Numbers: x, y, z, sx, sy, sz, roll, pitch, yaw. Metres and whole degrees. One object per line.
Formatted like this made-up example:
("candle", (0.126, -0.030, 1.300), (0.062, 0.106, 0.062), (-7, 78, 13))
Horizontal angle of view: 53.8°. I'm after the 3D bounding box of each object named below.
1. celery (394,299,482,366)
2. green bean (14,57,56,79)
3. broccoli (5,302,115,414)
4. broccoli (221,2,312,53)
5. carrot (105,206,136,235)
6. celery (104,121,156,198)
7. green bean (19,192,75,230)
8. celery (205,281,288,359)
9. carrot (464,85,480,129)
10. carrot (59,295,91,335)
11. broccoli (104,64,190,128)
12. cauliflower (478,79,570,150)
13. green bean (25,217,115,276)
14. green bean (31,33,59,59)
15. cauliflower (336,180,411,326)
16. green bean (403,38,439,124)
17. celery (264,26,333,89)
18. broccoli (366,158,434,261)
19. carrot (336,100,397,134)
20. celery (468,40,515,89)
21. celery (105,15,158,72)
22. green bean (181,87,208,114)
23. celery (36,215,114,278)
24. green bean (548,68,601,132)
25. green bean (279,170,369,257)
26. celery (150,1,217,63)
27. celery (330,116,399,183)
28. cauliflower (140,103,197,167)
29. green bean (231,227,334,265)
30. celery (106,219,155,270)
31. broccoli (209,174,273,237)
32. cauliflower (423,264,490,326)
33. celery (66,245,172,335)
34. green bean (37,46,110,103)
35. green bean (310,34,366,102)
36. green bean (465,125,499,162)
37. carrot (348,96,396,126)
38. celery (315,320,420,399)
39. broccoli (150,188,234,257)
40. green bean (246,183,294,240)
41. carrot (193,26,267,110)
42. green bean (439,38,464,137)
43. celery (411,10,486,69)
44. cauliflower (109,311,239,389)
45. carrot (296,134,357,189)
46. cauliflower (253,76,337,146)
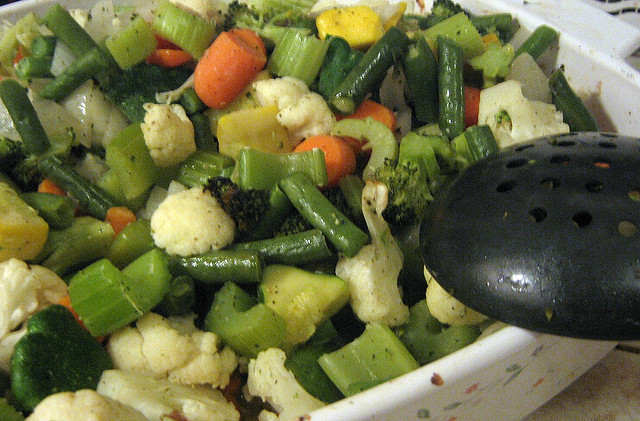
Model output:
("celery", (0.321, 0.318, 1.723), (0.182, 0.063, 0.195), (37, 117, 34))
("green bean", (-0.883, -0.424, 1.960), (0.115, 0.042, 0.062), (-5, 91, -28))
("broccoli", (-0.675, 0.395, 1.625), (0.203, 0.141, 0.248), (27, 78, 16))
("broccoli", (-0.178, -0.589, 2.039), (0.199, 0.070, 0.202), (44, 60, 9))
("carrot", (-0.603, 0.028, 1.892), (0.100, 0.105, 0.066), (-3, 97, -23))
("celery", (-0.557, -0.131, 1.867), (0.109, 0.132, 0.219), (-21, 102, 12))
("green bean", (-0.764, 0.002, 1.802), (0.153, 0.081, 0.064), (15, 24, 8))
("celery", (-0.213, 0.292, 1.706), (0.209, 0.075, 0.171), (1, 29, 5))
("carrot", (0.488, -0.318, 2.068), (0.080, 0.062, 0.117), (8, 84, 19))
("carrot", (-0.671, 0.283, 1.723), (0.021, 0.082, 0.082), (-35, 55, -2))
("broccoli", (-0.549, -0.357, 1.948), (0.216, 0.060, 0.211), (-39, 83, -16))
("cauliflower", (0.594, -0.272, 1.898), (0.206, 0.100, 0.233), (-15, 86, 24))
("green bean", (-0.694, 0.102, 1.799), (0.228, 0.089, 0.127), (-36, 66, -4))
("green bean", (-0.873, -0.495, 2.007), (0.051, 0.083, 0.069), (39, 88, -19))
("cauliflower", (0.158, 0.142, 1.841), (0.193, 0.099, 0.387), (-1, 75, 1))
("green bean", (0.322, -0.386, 2.022), (0.105, 0.241, 0.081), (-10, 26, 6))
("celery", (-0.067, -0.453, 1.937), (0.166, 0.053, 0.179), (22, 97, 13))
("broccoli", (0.245, -0.007, 1.797), (0.182, 0.089, 0.263), (-6, 97, -8))
("carrot", (0.153, -0.285, 1.997), (0.162, 0.093, 0.086), (12, 23, -6))
("celery", (0.557, -0.446, 2.021), (0.130, 0.035, 0.135), (40, 92, 33))
("celery", (-0.568, -0.484, 1.923), (0.131, 0.069, 0.073), (-31, 69, -2))
("green bean", (-0.387, -0.319, 1.947), (0.066, 0.069, 0.087), (-5, 21, 17))
("celery", (-0.690, 0.113, 1.830), (0.192, 0.074, 0.140), (-27, 78, 5))
("green bean", (0.851, -0.315, 2.122), (0.126, 0.356, 0.076), (-51, 44, -9))
("green bean", (0.007, 0.016, 1.797), (0.120, 0.109, 0.364), (-37, 76, -1))
("celery", (-0.436, -0.544, 1.967), (0.170, 0.154, 0.081), (30, 83, 22))
("celery", (0.136, -0.163, 1.795), (0.167, 0.192, 0.055), (-17, 18, 24))
("cauliflower", (-0.439, -0.201, 1.842), (0.150, 0.054, 0.183), (0, 96, -26))
("green bean", (-0.110, 0.115, 1.776), (0.295, 0.090, 0.091), (-1, 46, 9))
("celery", (-0.535, 0.099, 1.844), (0.089, 0.055, 0.161), (45, 93, 2))
("broccoli", (-0.210, -0.015, 1.806), (0.149, 0.082, 0.170), (23, 94, 15))
("cauliflower", (0.372, 0.255, 1.730), (0.117, 0.163, 0.135), (-49, 37, -13))
("celery", (-0.546, 0.211, 1.726), (0.293, 0.134, 0.206), (-17, 38, -16))
("green bean", (-0.744, -0.391, 1.928), (0.188, 0.053, 0.056), (-39, 56, 8))
("green bean", (0.068, -0.407, 2.006), (0.176, 0.056, 0.182), (-47, 68, 7))
("green bean", (0.484, -0.189, 1.875), (0.090, 0.058, 0.097), (-22, 70, 1))
("carrot", (0.171, -0.277, 1.990), (0.117, 0.068, 0.098), (15, 52, -4))
("celery", (0.127, 0.385, 1.636), (0.184, 0.074, 0.182), (-30, 59, -13))
("broccoli", (-0.332, 0.014, 1.786), (0.243, 0.073, 0.269), (4, 48, 8))
("green bean", (-0.133, 0.022, 1.784), (0.055, 0.091, 0.175), (28, 76, 45))
("carrot", (-0.278, -0.401, 1.967), (0.162, 0.094, 0.279), (44, 98, 8))
("green bean", (0.394, -0.358, 1.976), (0.079, 0.073, 0.283), (-7, 89, 3))
("celery", (0.430, -0.529, 2.040), (0.185, 0.070, 0.208), (-25, 76, 2))
("cauliflower", (-0.373, 0.364, 1.678), (0.240, 0.077, 0.214), (23, 27, 0))
("carrot", (0.035, -0.144, 1.917), (0.148, 0.123, 0.150), (-7, 25, 39))
("cauliflower", (-0.073, -0.303, 1.916), (0.158, 0.124, 0.268), (-42, 71, -6))
